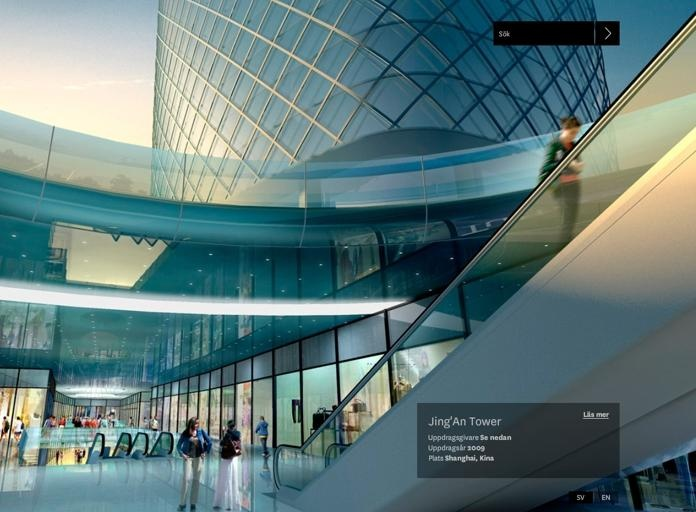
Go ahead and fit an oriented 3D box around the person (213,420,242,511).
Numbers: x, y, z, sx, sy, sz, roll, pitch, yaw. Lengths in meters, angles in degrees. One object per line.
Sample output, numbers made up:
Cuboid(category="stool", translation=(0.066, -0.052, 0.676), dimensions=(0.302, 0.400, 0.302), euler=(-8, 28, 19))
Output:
Cuboid(category="person", translation=(-2.695, 4.864, 10.988), dimensions=(0.570, 1.711, 0.552), euler=(3, -24, -10))
